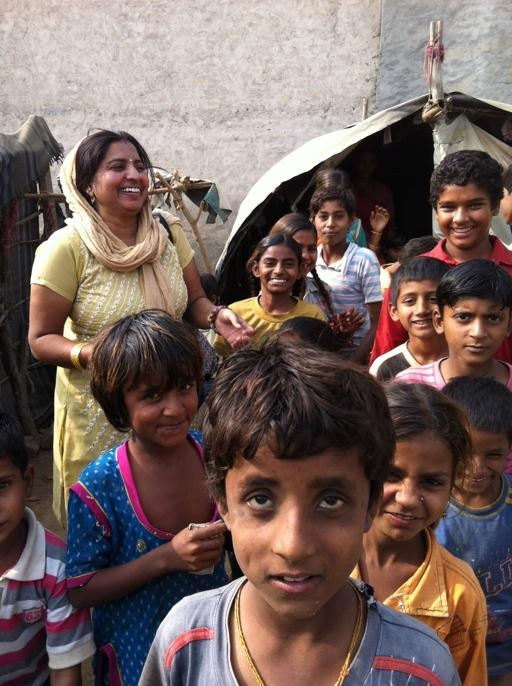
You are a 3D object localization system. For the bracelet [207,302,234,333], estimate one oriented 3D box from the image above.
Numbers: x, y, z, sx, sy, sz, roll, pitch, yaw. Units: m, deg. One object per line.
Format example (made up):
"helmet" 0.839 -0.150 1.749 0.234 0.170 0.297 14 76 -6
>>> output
"bracelet" -0.170 -0.113 2.978 0.107 0.096 0.046 2 0 2

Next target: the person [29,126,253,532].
"person" -0.489 0.089 2.993 0.902 1.826 0.822 -12 22 -36

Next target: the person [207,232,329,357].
"person" 0.147 -0.244 3.995 0.851 0.685 0.360 5 9 9
